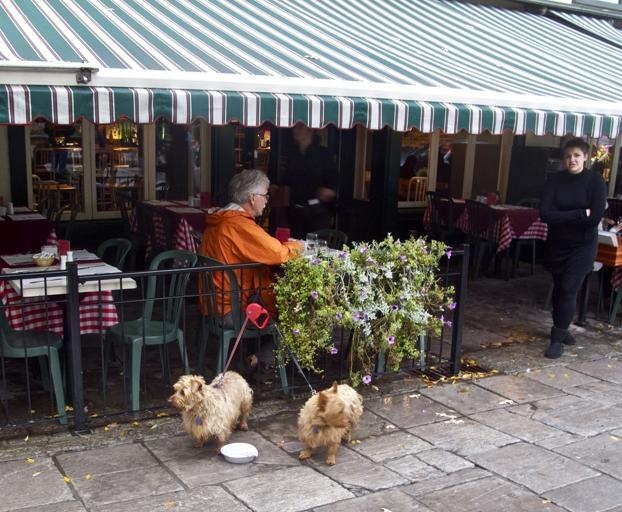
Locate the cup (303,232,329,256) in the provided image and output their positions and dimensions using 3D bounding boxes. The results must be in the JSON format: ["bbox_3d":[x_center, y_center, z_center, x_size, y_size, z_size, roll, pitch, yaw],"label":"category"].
[{"bbox_3d":[0.025,-0.096,4.891,0.255,0.236,0.250,0,5,0],"label":"cup"}]

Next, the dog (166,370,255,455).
[{"bbox_3d":[-0.656,1.017,3.795,0.335,0.481,0.655,-1,3,36],"label":"dog"}]

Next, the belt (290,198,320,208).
[{"bbox_3d":[-0.066,-0.749,7.911,0.362,0.133,0.113,5,7,32],"label":"belt"}]

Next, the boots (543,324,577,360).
[{"bbox_3d":[2.702,0.898,5.941,0.209,0.264,0.639,-3,3,38],"label":"boots"}]

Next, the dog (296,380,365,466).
[{"bbox_3d":[0.084,1.146,3.847,0.327,0.444,0.912,6,-10,6],"label":"dog"}]
